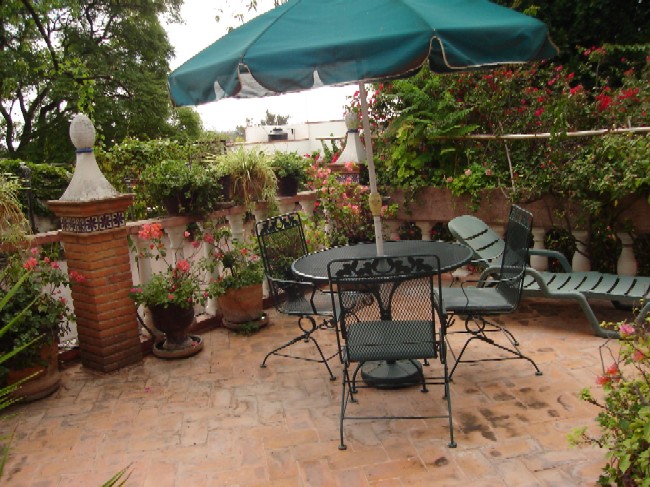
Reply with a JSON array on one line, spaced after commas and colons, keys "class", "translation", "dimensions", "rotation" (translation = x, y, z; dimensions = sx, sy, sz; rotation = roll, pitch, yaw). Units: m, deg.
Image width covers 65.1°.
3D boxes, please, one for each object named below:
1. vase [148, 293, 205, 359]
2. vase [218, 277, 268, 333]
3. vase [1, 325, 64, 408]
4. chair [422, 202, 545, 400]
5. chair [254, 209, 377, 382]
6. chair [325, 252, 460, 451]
[{"class": "vase", "translation": [-1.396, 0.755, 4.718], "dimensions": [0.494, 0.501, 0.475], "rotation": [-7, 5, -17]}, {"class": "vase", "translation": [-0.869, 0.624, 5.235], "dimensions": [0.527, 0.432, 0.526], "rotation": [-6, 2, -7]}, {"class": "vase", "translation": [-2.294, 0.994, 4.073], "dimensions": [0.247, 0.482, 0.482], "rotation": [2, 18, 32]}, {"class": "chair", "translation": [1.328, 0.377, 4.211], "dimensions": [0.770, 1.281, 0.921], "rotation": [-2, 9, 7]}, {"class": "chair", "translation": [-0.166, 0.482, 4.423], "dimensions": [0.917, 1.170, 0.863], "rotation": [4, 2, -20]}, {"class": "chair", "translation": [0.444, 0.658, 3.476], "dimensions": [0.948, 1.154, 0.966], "rotation": [-3, -6, -15]}]
